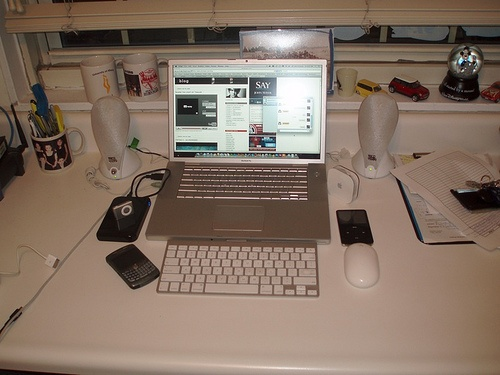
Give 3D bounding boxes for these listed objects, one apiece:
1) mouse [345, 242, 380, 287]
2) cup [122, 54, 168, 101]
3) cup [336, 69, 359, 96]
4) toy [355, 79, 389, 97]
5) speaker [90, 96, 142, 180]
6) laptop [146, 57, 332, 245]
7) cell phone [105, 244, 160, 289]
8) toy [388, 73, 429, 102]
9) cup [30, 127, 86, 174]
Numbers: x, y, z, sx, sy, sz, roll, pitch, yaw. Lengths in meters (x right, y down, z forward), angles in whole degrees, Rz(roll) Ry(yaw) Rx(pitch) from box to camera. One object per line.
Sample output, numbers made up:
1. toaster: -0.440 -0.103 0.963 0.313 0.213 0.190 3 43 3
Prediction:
1. mouse: 0.284 0.182 0.919 0.096 0.042 0.142 -4 45 14
2. cup: -0.343 -0.381 1.255 0.168 0.128 0.108 -11 36 -15
3. cup: 0.328 -0.356 1.236 0.070 0.087 0.065 0 26 0
4. toy: 0.411 -0.339 1.230 0.100 0.047 0.061 26 65 29
5. speaker: -0.449 -0.178 1.202 0.142 0.267 0.145 26 42 22
6. laptop: -0.019 -0.129 1.022 0.486 0.309 0.467 0 38 2
7. cell phone: -0.305 0.201 0.942 0.149 0.015 0.087 30 38 34
8. toy: 0.531 -0.337 1.238 0.128 0.062 0.074 31 73 33
9. cup: -0.646 -0.137 1.251 0.097 0.122 0.156 19 31 31
